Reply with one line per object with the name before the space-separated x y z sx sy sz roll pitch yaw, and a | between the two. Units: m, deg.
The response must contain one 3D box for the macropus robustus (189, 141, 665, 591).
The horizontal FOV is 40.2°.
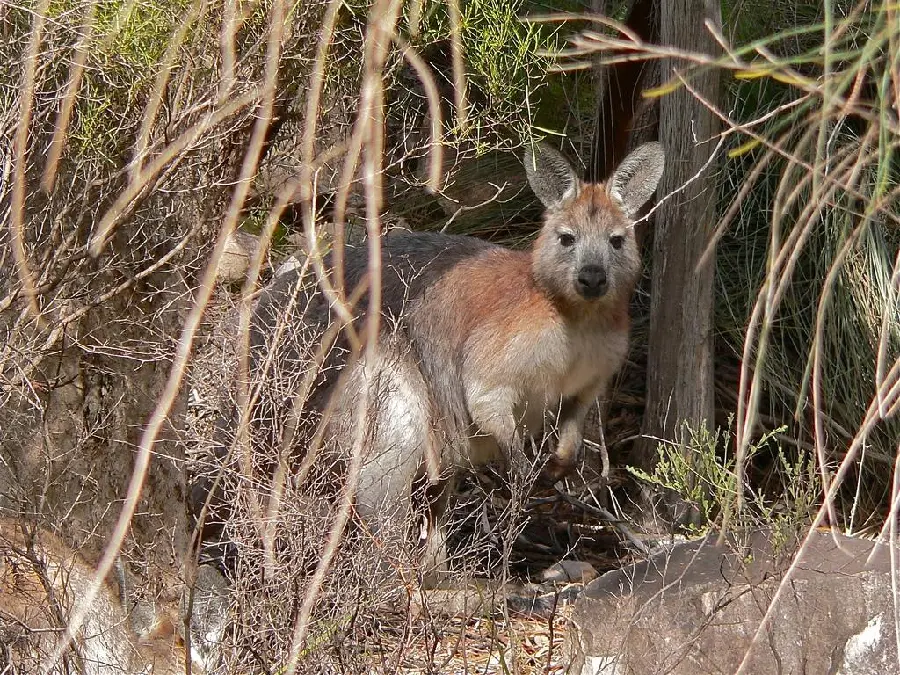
macropus robustus | 0.012 0.042 5.436 1.859 1.885 1.017 -2 3 -44
